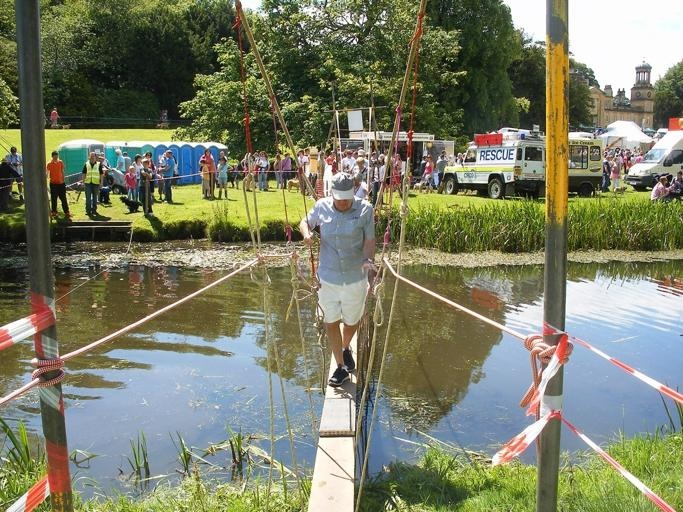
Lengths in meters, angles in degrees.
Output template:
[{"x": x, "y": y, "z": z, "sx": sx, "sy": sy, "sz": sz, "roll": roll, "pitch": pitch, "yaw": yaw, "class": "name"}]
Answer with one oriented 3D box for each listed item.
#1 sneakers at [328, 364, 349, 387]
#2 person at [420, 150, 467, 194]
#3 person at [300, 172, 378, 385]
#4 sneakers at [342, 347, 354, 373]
[{"x": -0.026, "y": 1.432, "z": 9.541, "sx": 0.114, "sy": 0.184, "sz": 0.359, "roll": 0, "pitch": -1, "yaw": 18, "class": "sneakers"}, {"x": 3.683, "y": -2.911, "z": 28.748, "sx": 1.756, "sy": 1.323, "sz": 1.073, "roll": 1, "pitch": 7, "yaw": 8, "class": "person"}, {"x": -0.024, "y": 0.312, "z": 9.199, "sx": 0.804, "sy": 2.496, "sz": 0.693, "roll": -1, "pitch": 6, "yaw": -1, "class": "person"}, {"x": 0.101, "y": 1.278, "z": 9.707, "sx": 0.101, "sy": 0.132, "sz": 0.307, "roll": -4, "pitch": 10, "yaw": 1, "class": "sneakers"}]
